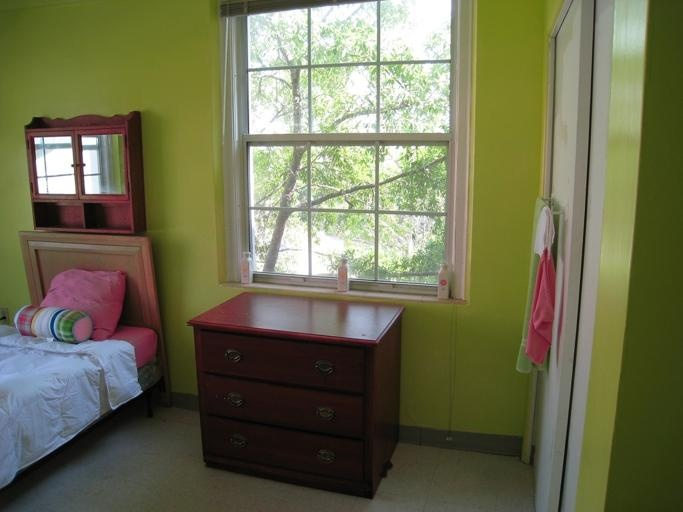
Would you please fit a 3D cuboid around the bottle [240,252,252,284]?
[{"bbox_3d":[-0.624,0.076,3.685,0.077,0.203,0.123,-2,10,-7],"label":"bottle"}]

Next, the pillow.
[{"bbox_3d":[-1.660,0.297,3.548,0.484,0.517,0.191,3,-16,14],"label":"pillow"}]

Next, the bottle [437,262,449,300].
[{"bbox_3d":[0.612,0.147,3.371,0.072,0.211,0.123,1,11,11],"label":"bottle"}]

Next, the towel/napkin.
[{"bbox_3d":[0.933,0.172,2.662,0.153,0.870,0.351,3,11,20],"label":"towel/napkin"}]

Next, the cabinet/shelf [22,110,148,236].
[{"bbox_3d":[-1.684,-0.578,3.736,0.746,0.822,0.203,2,8,11],"label":"cabinet/shelf"}]

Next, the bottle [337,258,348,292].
[{"bbox_3d":[0.004,0.123,3.489,0.064,0.200,0.061,-1,10,0],"label":"bottle"}]

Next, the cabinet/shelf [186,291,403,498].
[{"bbox_3d":[-0.239,0.762,3.328,1.042,0.951,0.689,4,15,14],"label":"cabinet/shelf"}]
